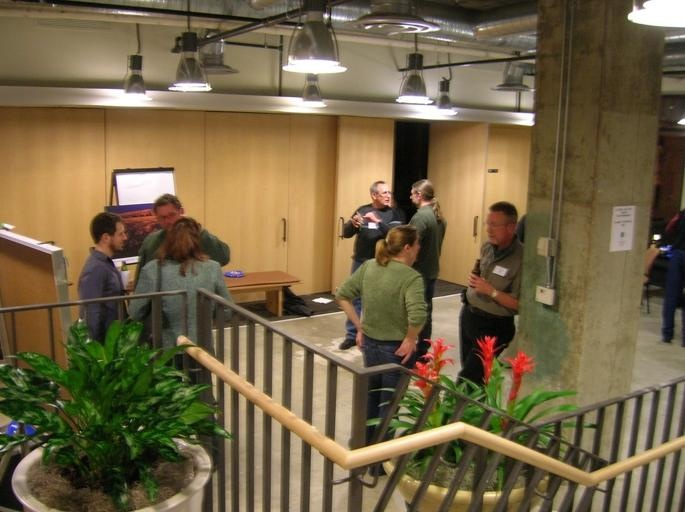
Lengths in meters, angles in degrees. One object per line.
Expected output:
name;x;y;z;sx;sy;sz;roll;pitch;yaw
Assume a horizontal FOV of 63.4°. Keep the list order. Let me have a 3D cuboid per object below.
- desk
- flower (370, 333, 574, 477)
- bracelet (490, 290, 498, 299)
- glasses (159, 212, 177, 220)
desk;-1.268;0.533;7.344;1.172;0.529;0.671;-2;14;-30
flower;0.614;0.629;2.562;1.033;0.442;0.937;2;-1;36
bracelet;1.118;0.295;4.118;0.043;0.061;0.059;2;2;4
glasses;-1.493;-0.345;4.726;0.115;0.095;0.127;1;1;0
